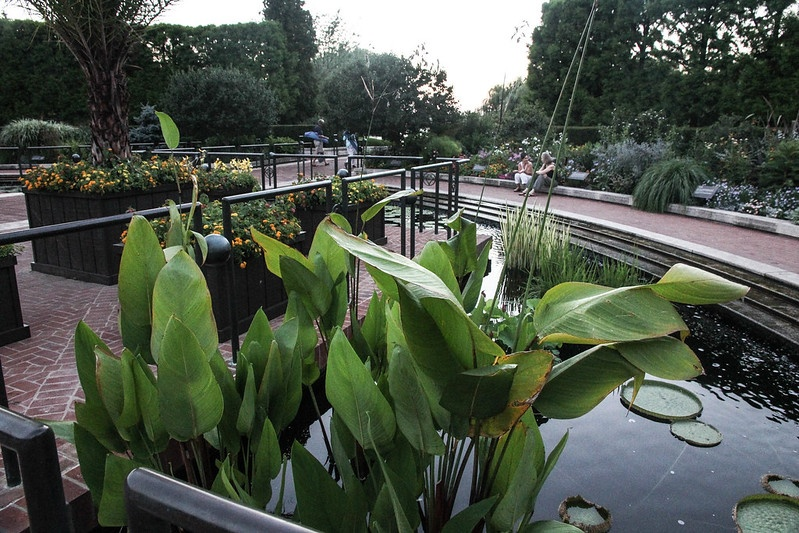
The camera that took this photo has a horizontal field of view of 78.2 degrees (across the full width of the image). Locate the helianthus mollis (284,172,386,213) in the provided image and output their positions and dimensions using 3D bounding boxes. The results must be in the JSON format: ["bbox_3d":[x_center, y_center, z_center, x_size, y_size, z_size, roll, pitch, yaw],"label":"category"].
[{"bbox_3d":[-0.814,-1.043,7.206,0.918,0.491,1.336,17,18,39],"label":"helianthus mollis"}]

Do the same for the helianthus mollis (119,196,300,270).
[{"bbox_3d":[-1.675,-0.470,4.963,1.170,0.456,1.204,11,17,30],"label":"helianthus mollis"}]

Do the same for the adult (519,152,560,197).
[{"bbox_3d":[3.919,-2.556,13.434,0.483,1.165,2.564,9,15,18],"label":"adult"}]
